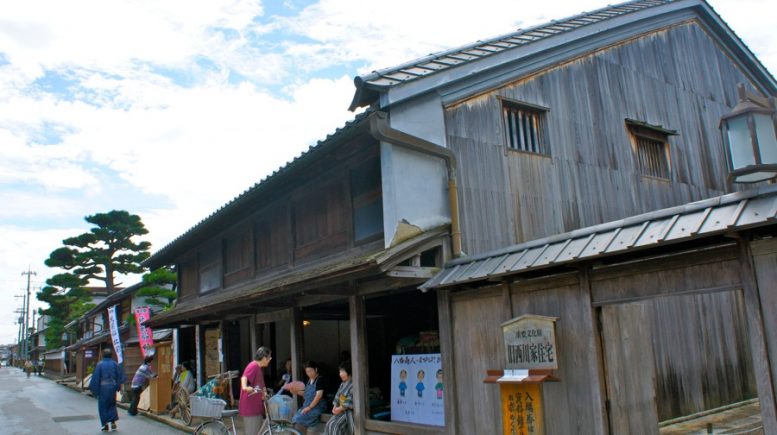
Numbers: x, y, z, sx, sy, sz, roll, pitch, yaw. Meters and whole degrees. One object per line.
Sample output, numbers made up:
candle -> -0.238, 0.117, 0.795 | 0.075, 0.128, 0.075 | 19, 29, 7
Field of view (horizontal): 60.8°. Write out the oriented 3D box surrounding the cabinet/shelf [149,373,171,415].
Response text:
cabinet/shelf -> -9.058, 6.989, 26.301 | 0.782, 1.580, 0.853 | 10, -22, -24

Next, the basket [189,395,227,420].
basket -> -5.293, 5.591, 19.468 | 0.908, 0.431, 0.660 | 2, -25, 6

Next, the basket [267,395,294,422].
basket -> -3.059, 5.445, 18.895 | 0.760, 0.556, 0.641 | 18, -29, -30

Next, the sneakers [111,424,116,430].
sneakers -> -9.835, 7.501, 23.709 | 0.213, 0.193, 0.193 | 1, -19, -24

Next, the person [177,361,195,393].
person -> -7.886, 6.236, 25.744 | 0.548, 1.301, 0.658 | -4, -11, 11
